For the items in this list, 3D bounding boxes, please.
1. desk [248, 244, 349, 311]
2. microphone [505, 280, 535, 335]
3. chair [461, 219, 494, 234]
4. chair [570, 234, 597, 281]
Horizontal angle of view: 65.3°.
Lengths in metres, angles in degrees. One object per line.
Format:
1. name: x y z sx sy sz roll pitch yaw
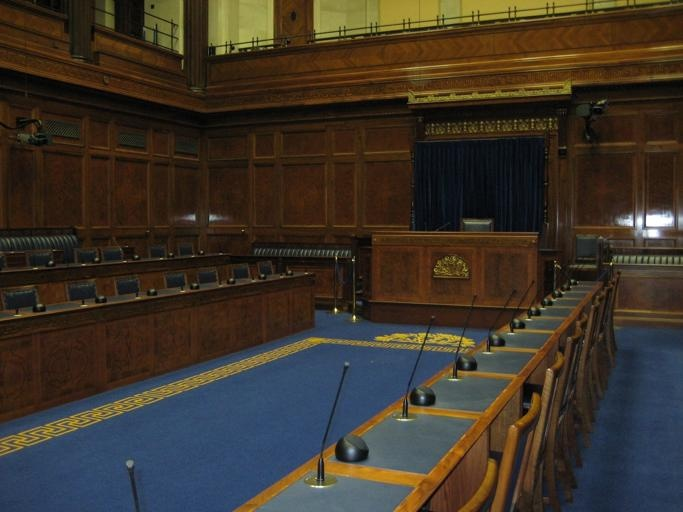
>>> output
1. desk: -0.784 0.323 10.951 1.851 1.235 0.670 -1 2 -4
2. microphone: 2.228 0.599 6.678 0.301 0.191 0.642 -16 -38 13
3. chair: 2.404 -0.558 9.436 0.552 0.307 0.570 0 -7 9
4. chair: 4.558 0.108 9.922 0.503 0.922 0.479 1 5 33
